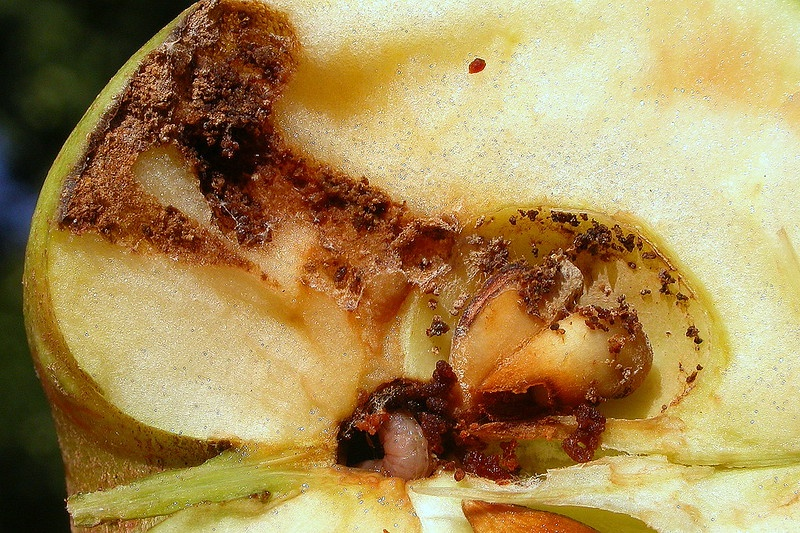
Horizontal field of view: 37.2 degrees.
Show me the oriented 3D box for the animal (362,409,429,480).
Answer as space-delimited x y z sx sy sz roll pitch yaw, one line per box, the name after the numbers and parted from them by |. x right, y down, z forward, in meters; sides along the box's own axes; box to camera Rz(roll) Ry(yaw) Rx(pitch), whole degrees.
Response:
0.005 0.304 2.045 0.083 0.047 0.121 -19 82 9 | animal
